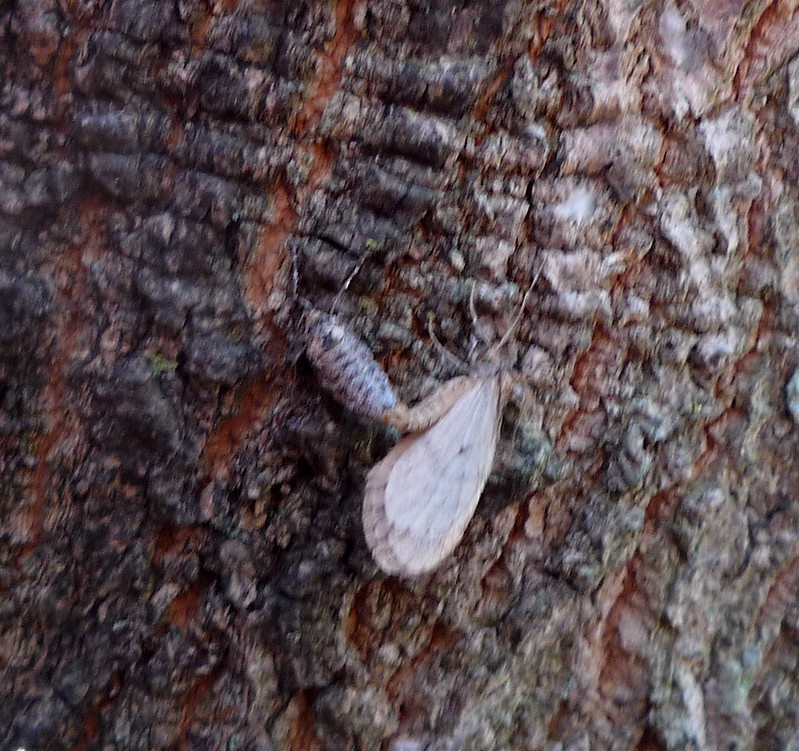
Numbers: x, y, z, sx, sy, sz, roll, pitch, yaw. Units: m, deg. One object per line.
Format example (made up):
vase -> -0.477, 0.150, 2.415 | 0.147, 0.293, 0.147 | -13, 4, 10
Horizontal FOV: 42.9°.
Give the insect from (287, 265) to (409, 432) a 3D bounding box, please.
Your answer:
insect -> -0.132, -0.031, 2.620 | 0.136, 0.212, 0.576 | -22, 89, -19
